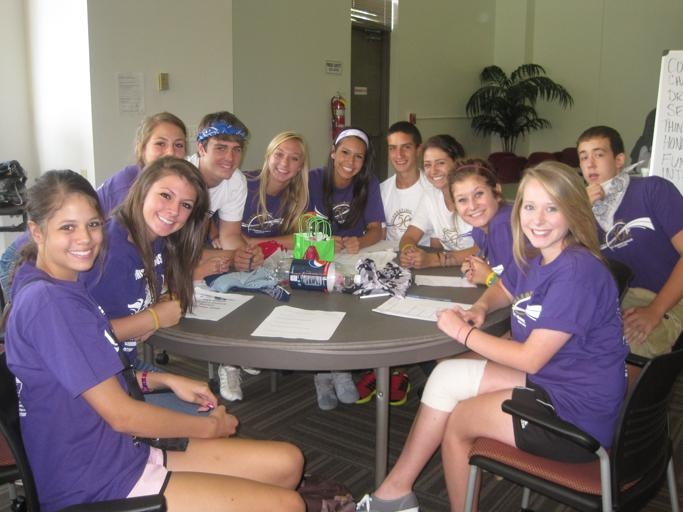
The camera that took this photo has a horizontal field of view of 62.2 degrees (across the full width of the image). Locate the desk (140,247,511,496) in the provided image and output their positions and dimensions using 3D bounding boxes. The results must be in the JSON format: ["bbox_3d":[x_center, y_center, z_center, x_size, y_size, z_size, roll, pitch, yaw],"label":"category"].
[{"bbox_3d":[-0.153,0.279,2.071,0.898,0.446,0.908,-2,14,-11],"label":"desk"}]

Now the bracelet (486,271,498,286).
[{"bbox_3d":[0.656,0.099,2.467,0.015,0.051,0.051,23,36,1],"label":"bracelet"}]

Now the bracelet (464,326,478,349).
[{"bbox_3d":[0.450,0.290,1.989,0.014,0.059,0.057,14,-7,-10],"label":"bracelet"}]

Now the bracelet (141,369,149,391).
[{"bbox_3d":[-0.725,0.471,2.104,0.015,0.056,0.056,-3,-15,-9],"label":"bracelet"}]

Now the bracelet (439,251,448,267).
[{"bbox_3d":[0.511,0.013,2.863,0.024,0.067,0.047,7,-6,-4],"label":"bracelet"}]

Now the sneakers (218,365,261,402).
[{"bbox_3d":[-0.591,0.758,3.250,0.114,0.132,0.336,7,31,-34],"label":"sneakers"}]
